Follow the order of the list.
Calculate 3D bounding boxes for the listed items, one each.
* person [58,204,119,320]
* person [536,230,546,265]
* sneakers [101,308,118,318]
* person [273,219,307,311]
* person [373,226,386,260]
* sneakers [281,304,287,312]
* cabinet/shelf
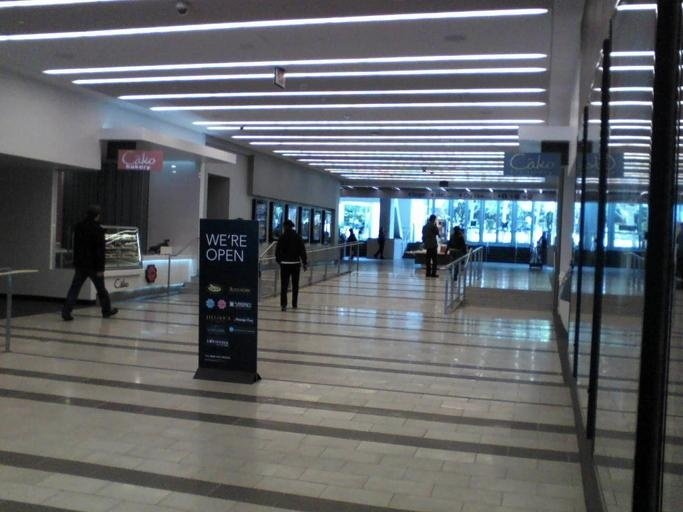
[{"bbox_3d":[-4.444,0.115,8.918,0.846,2.006,0.488,-1,2,-27],"label":"person"},{"bbox_3d":[9.518,-0.308,24.039,0.465,1.519,1.983,1,3,21],"label":"person"},{"bbox_3d":[-4.141,1.032,9.126,0.116,0.149,0.332,5,13,15],"label":"sneakers"},{"bbox_3d":[-1.070,0.175,10.790,0.636,1.847,1.333,0,2,-5],"label":"person"},{"bbox_3d":[2.304,-0.737,30.094,0.675,1.859,1.425,1,3,4],"label":"person"},{"bbox_3d":[-1.172,1.088,10.374,0.090,0.129,0.124,3,-1,8],"label":"sneakers"},{"bbox_3d":[-5.254,-0.030,11.422,0.655,1.121,1.205,9,7,-5],"label":"cabinet/shelf"}]
